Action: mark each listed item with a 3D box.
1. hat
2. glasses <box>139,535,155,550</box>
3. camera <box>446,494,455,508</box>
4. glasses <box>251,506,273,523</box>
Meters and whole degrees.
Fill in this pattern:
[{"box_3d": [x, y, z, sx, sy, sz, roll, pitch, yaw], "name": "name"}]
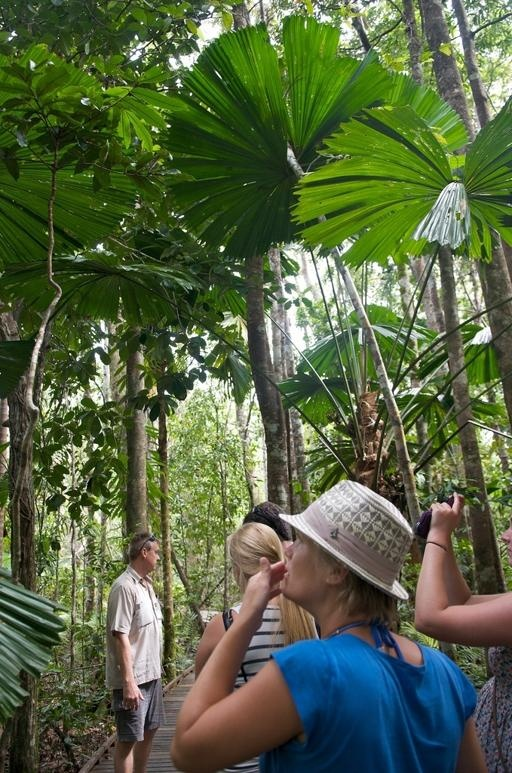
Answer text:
[{"box_3d": [0.174, 0.236, 1.136, 0.221, 0.112, 0.204, 27, -2, 8], "name": "hat"}, {"box_3d": [-0.645, 0.939, 3.737, 0.059, 0.077, 0.065, 8, -12, 8], "name": "glasses"}, {"box_3d": [0.467, 0.283, 1.510, 0.011, 0.040, 0.012, 27, 15, 30], "name": "camera"}, {"box_3d": [0.021, 0.416, 2.049, 0.045, 0.054, 0.055, 0, -52, -10], "name": "glasses"}]
